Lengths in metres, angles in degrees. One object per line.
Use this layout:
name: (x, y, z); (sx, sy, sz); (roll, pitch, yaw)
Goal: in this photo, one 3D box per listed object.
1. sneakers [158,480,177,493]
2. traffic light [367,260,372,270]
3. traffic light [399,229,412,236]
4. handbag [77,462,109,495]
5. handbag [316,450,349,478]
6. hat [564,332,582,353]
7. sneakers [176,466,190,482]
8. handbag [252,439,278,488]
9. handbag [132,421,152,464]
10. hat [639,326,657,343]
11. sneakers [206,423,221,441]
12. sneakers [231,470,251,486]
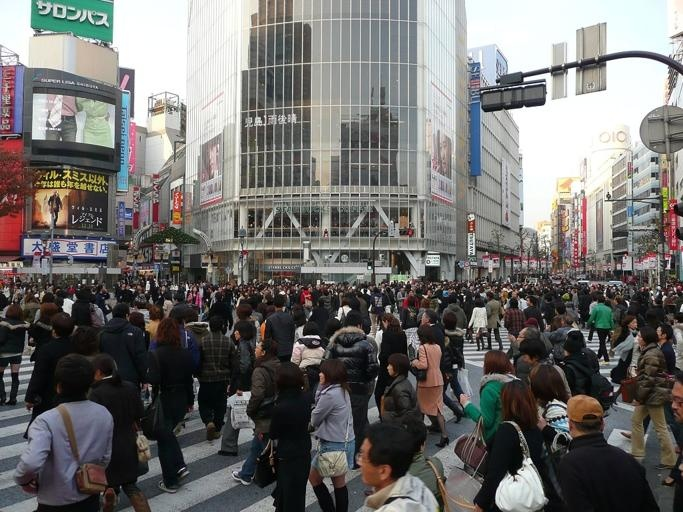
sneakers: (-2.480, 3.290, 8.478); (0.295, 0.144, 0.114); (8, 1, 29)
traffic light: (2.111, 0.695, 44.160); (0.412, 0.877, 0.469); (-1, 1, 13)
traffic light: (6.065, -2.146, 55.175); (1.286, 0.685, 0.140); (0, -3, 6)
handbag: (-2.543, 2.262, 6.082); (0.158, 0.307, 0.321); (-15, -20, 24)
handbag: (-0.097, 2.556, 7.294); (0.442, 0.363, 0.274); (4, -25, -9)
hat: (3.319, 1.223, 8.488); (0.293, 0.313, 0.226); (2, -4, -25)
sneakers: (-2.279, 3.131, 8.639); (0.087, 0.112, 0.253); (-23, -9, -5)
handbag: (-0.916, 2.524, 7.248); (0.266, 0.654, 0.429); (1, -4, -9)
handbag: (-2.476, 2.346, 7.447); (0.165, 0.584, 0.685); (2, -4, -18)
hat: (4.683, 1.189, 9.069); (0.178, 0.268, 0.249); (0, 2, 5)
sneakers: (-2.215, 3.029, 10.341); (0.147, 0.383, 0.154); (3, 27, -17)
sneakers: (-1.445, 3.233, 8.750); (0.284, 0.144, 0.135); (24, 8, 30)
